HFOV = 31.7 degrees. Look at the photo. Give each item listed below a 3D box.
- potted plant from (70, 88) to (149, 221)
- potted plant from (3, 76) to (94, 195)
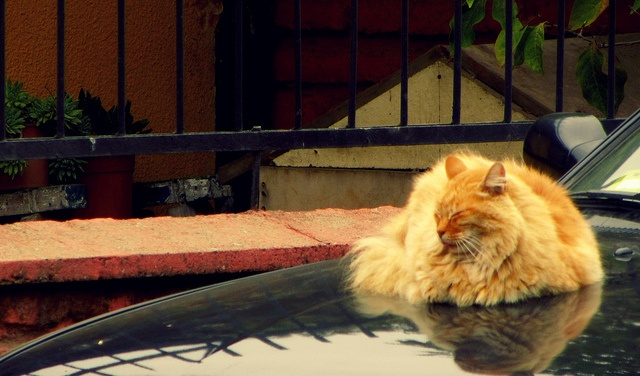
[{"bbox_3d":[-1.639,-0.161,8.717,0.563,0.725,0.609,1,3,12],"label":"potted plant"},{"bbox_3d":[-2.112,-0.406,8.720,0.739,0.779,0.741,1,0,-16],"label":"potted plant"}]
